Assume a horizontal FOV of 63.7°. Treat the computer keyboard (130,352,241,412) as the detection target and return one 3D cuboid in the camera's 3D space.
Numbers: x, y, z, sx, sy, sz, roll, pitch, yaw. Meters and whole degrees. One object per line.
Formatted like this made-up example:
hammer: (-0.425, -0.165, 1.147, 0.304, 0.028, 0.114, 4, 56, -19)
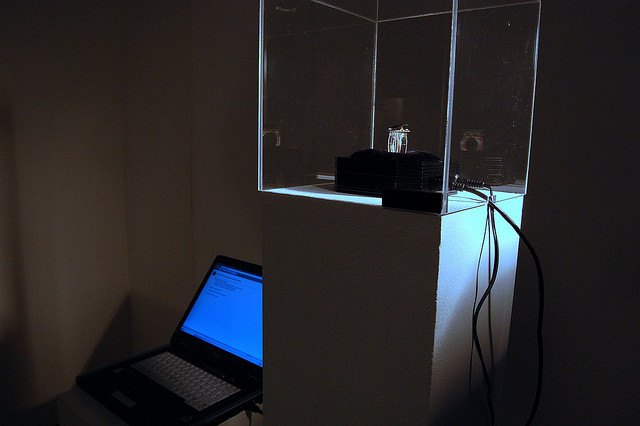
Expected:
computer keyboard: (-0.512, 0.633, 1.942, 0.430, 0.160, 0.162, 5, 1, 34)
